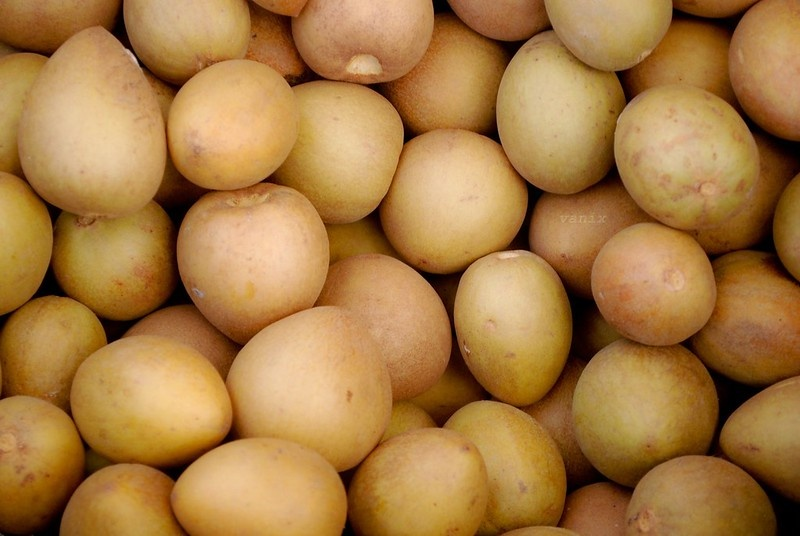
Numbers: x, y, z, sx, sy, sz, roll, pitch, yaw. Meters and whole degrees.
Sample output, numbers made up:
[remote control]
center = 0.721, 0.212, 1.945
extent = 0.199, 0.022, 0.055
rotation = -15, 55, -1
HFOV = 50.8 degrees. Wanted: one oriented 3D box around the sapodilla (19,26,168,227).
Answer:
[sapodilla]
center = -0.610, -0.290, 1.732
extent = 0.253, 0.238, 0.383
rotation = 8, 67, -15
